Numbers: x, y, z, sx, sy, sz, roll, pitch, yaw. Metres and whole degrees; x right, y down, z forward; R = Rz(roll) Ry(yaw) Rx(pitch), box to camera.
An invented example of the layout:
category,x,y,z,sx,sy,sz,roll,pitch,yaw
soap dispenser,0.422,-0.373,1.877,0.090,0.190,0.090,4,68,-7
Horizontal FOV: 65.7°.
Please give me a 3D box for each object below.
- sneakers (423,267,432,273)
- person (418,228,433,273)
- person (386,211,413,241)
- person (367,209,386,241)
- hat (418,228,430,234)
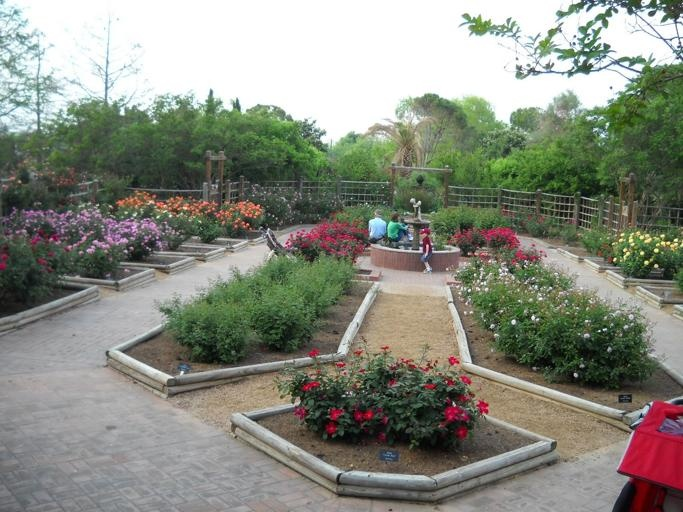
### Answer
category,x,y,z,sx,sy,sz,roll,pitch,yaw
sneakers,2.417,0.377,14.844,0.108,0.116,0.260,-1,7,-25
person,2.457,-0.249,15.216,0.361,1.170,1.343,5,14,8
person,1.801,-0.894,16.548,0.561,1.077,1.779,5,14,10
person,1.187,-0.975,17.438,0.585,1.086,0.865,3,14,2
hat,2.428,-0.714,15.036,0.383,0.169,0.312,-3,7,-38
